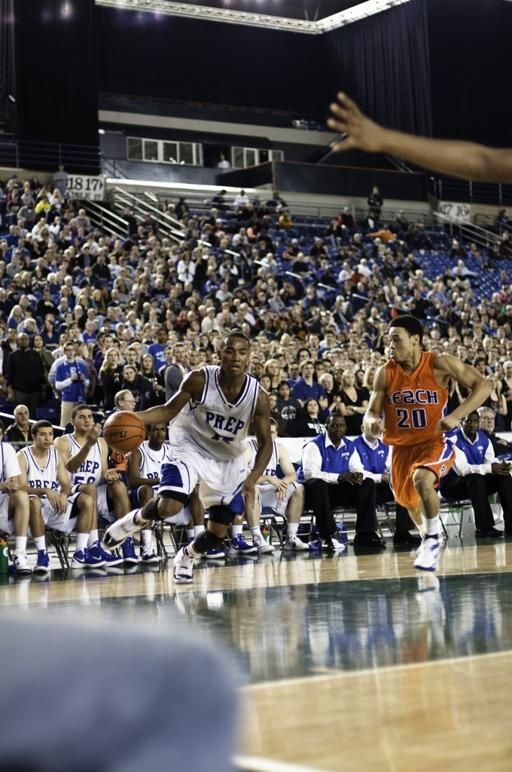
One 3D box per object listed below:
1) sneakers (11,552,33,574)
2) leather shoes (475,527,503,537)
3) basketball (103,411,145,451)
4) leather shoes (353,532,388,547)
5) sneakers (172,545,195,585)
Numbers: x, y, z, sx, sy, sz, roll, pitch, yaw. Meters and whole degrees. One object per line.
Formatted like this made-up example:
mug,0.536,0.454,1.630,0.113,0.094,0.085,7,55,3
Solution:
sneakers,-2.196,1.661,7.444,0.207,0.242,0.606,2,-12,-16
leather shoes,2.665,1.682,9.146,0.340,0.142,0.115,-6,-7,25
basketball,-0.915,0.314,5.491,0.273,0.301,0.247,0,14,-10
leather shoes,1.261,1.691,8.783,0.362,0.249,0.137,-3,-7,9
sneakers,-0.539,1.333,5.872,0.111,0.327,0.148,6,-38,-14
